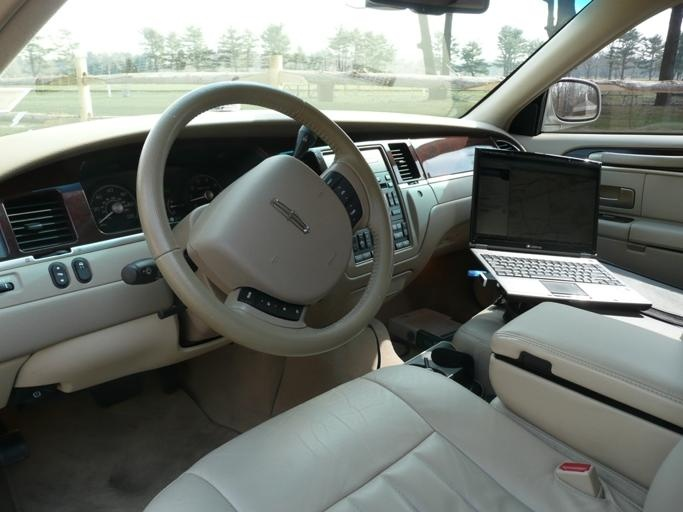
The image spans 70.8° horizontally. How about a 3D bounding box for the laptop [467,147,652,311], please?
[{"bbox_3d":[0.664,-0.075,1.555,0.533,0.431,0.471,5,19,-12],"label":"laptop"}]
